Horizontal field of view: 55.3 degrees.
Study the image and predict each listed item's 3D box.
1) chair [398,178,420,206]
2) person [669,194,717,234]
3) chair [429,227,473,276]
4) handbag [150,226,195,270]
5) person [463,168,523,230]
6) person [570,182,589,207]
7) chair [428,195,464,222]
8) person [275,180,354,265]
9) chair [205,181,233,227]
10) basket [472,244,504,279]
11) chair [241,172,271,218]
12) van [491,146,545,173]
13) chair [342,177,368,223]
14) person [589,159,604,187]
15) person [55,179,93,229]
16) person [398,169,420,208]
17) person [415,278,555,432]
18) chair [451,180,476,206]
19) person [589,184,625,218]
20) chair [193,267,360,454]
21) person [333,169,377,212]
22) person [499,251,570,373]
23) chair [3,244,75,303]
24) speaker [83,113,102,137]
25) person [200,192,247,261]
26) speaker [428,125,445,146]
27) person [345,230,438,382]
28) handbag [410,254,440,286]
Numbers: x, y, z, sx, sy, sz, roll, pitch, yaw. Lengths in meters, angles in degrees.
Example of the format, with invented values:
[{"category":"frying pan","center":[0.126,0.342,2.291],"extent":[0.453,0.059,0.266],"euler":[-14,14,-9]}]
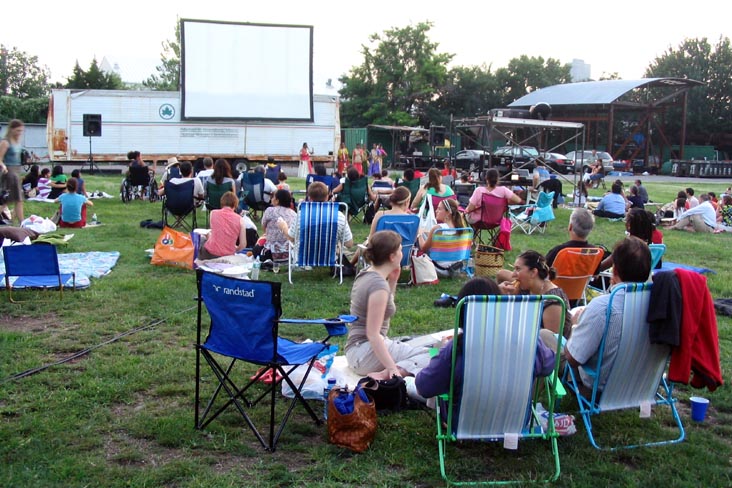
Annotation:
[{"category":"chair","center":[0.881,-1.024,13.761],"extent":[0.363,0.735,0.414],"euler":[-1,10,-10]},{"category":"person","center":[6.734,-0.626,14.454],"extent":[0.677,0.700,0.848],"euler":[0,7,-26]},{"category":"chair","center":[1.176,0.011,10.177],"extent":[0.552,0.985,0.698],"euler":[-2,22,-6]},{"category":"handbag","center":[-2.850,0.059,10.429],"extent":[0.651,0.551,0.314],"euler":[2,6,11]},{"category":"person","center":[2.079,-0.768,11.636],"extent":[0.845,0.940,0.381],"euler":[2,6,8]},{"category":"person","center":[5.478,-1.301,17.825],"extent":[0.361,0.633,2.096],"euler":[3,6,16]},{"category":"chair","center":[1.221,-0.484,10.222],"extent":[0.343,0.419,0.502],"euler":[-2,-8,1]},{"category":"person","center":[-0.620,-0.335,10.024],"extent":[0.864,1.336,0.592],"euler":[2,-1,-5]},{"category":"chair","center":[-2.604,-0.701,12.229],"extent":[0.488,0.968,0.622],"euler":[1,17,-5]},{"category":"basket","center":[1.747,0.209,10.299],"extent":[0.554,0.592,0.562],"euler":[2,2,-2]},{"category":"chair","center":[-2.163,-1.062,13.786],"extent":[0.574,0.936,0.689],"euler":[3,16,2]},{"category":"van","center":[5.291,-3.045,24.764],"extent":[2.204,1.094,1.372],"euler":[3,7,3]},{"category":"chair","center":[-0.204,-0.846,13.455],"extent":[0.535,0.915,0.617],"euler":[-2,35,-9]},{"category":"person","center":[8.173,-2.508,24.708],"extent":[0.487,0.993,2.564],"euler":[3,6,18]},{"category":"person","center":[-5.355,-0.749,12.742],"extent":[0.532,0.913,0.815],"euler":[-2,7,-30]},{"category":"person","center":[0.880,-1.124,13.592],"extent":[0.542,0.852,0.602],"euler":[0,4,-5]},{"category":"person","center":[1.086,0.921,6.348],"extent":[1.173,1.674,1.170],"euler":[-1,19,-5]},{"category":"chair","center":[2.097,-1.059,14.696],"extent":[0.480,0.628,0.440],"euler":[-2,6,-7]},{"category":"person","center":[5.488,-0.991,15.595],"extent":[0.688,0.787,0.645],"euler":[-1,18,6]},{"category":"chair","center":[-0.969,0.981,6.357],"extent":[1.333,1.511,0.871],"euler":[4,6,26]},{"category":"person","center":[-0.287,-1.183,13.718],"extent":[0.699,1.191,0.770],"euler":[-1,33,-11]},{"category":"person","center":[1.612,0.609,6.912],"extent":[0.681,0.975,0.740],"euler":[-3,7,-7]},{"category":"chair","center":[-4.114,0.321,8.646],"extent":[0.702,0.725,0.640],"euler":[0,6,-6]},{"category":"speaker","center":[-8.077,-3.480,20.645],"extent":[0.570,0.885,0.596],"euler":[-1,5,-22]},{"category":"person","center":[-2.056,-0.262,9.993],"extent":[0.632,0.955,0.327],"euler":[-1,6,-16]},{"category":"speaker","center":[2.416,-3.652,23.522],"extent":[0.628,0.796,0.544],"euler":[0,4,0]},{"category":"person","center":[0.287,0.683,7.387],"extent":[0.877,1.599,1.037],"euler":[-4,14,-23]},{"category":"handbag","center":[0.837,0.312,9.943],"extent":[0.492,0.614,0.346],"euler":[1,7,19]}]
